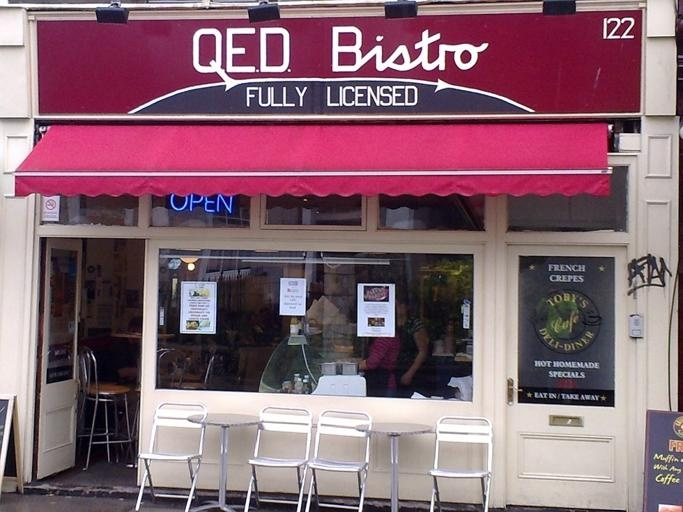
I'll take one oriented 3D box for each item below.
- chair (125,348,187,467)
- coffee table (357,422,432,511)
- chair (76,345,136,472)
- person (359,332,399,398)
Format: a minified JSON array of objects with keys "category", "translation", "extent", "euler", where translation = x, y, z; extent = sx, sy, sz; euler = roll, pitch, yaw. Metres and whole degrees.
[{"category":"chair","translation":[-2.453,1.919,13.160],"extent":[0.528,1.603,0.751],"euler":[8,5,7]},{"category":"coffee table","translation":[0.549,2.452,12.083],"extent":[0.961,1.147,0.978],"euler":[-1,-10,13]},{"category":"chair","translation":[-3.224,2.020,14.103],"extent":[0.876,1.663,0.852],"euler":[-1,-2,5]},{"category":"person","translation":[0.505,1.375,13.136],"extent":[0.575,1.088,0.788],"euler":[0,-7,10]}]
